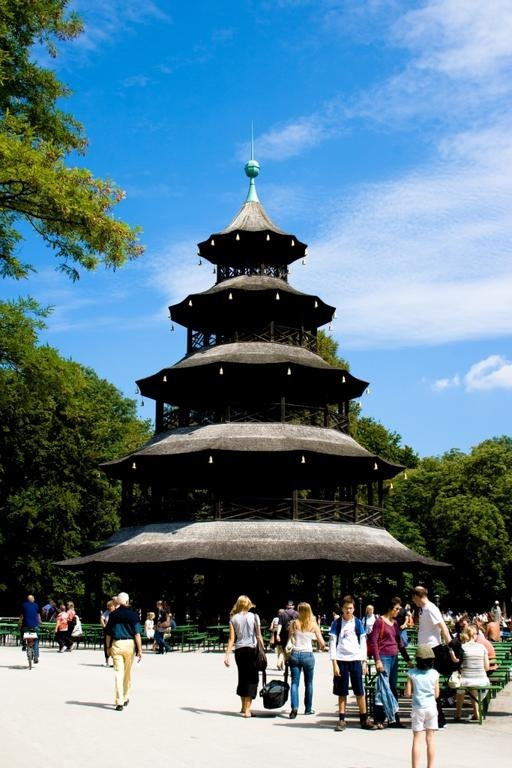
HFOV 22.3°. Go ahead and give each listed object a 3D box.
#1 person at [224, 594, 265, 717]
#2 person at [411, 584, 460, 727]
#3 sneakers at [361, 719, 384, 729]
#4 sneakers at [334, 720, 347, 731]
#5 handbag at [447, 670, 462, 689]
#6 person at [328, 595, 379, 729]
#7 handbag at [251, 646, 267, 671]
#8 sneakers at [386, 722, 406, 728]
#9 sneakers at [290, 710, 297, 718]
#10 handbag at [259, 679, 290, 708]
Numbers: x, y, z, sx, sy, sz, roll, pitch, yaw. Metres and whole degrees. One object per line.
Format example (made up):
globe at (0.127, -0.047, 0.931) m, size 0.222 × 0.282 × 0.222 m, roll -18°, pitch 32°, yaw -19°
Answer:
person at (-0.166, 4.120, 19.791) m, size 0.586 × 1.801 × 1.056 m, roll -2°, pitch -12°, yaw -1°
person at (2.424, 3.760, 18.440) m, size 0.682 × 1.809 × 0.584 m, roll -12°, pitch -7°, yaw 43°
sneakers at (1.659, 4.857, 18.594) m, size 0.121 × 0.150 × 0.364 m, roll 10°, pitch -28°, yaw -40°
sneakers at (1.173, 4.839, 18.381) m, size 0.102 × 0.116 × 0.280 m, roll -10°, pitch -27°, yaw 13°
handbag at (2.869, 4.312, 19.023) m, size 0.157 × 0.252 × 0.135 m, roll 4°, pitch -8°, yaw 14°
person at (1.361, 4.059, 19.069) m, size 0.551 × 1.875 × 1.372 m, roll -3°, pitch -12°, yaw 2°
handbag at (0.061, 4.090, 19.429) m, size 0.138 × 0.349 × 0.274 m, roll -4°, pitch -12°, yaw 7°
sneakers at (1.983, 4.907, 18.775) m, size 0.264 × 0.089 × 0.322 m, roll -3°, pitch -12°, yaw 5°
sneakers at (0.544, 4.908, 19.316) m, size 0.129 × 0.115 × 0.077 m, roll 1°, pitch -12°, yaw 5°
handbag at (0.211, 4.669, 19.490) m, size 0.471 × 0.437 × 0.360 m, roll 7°, pitch -28°, yaw -7°
